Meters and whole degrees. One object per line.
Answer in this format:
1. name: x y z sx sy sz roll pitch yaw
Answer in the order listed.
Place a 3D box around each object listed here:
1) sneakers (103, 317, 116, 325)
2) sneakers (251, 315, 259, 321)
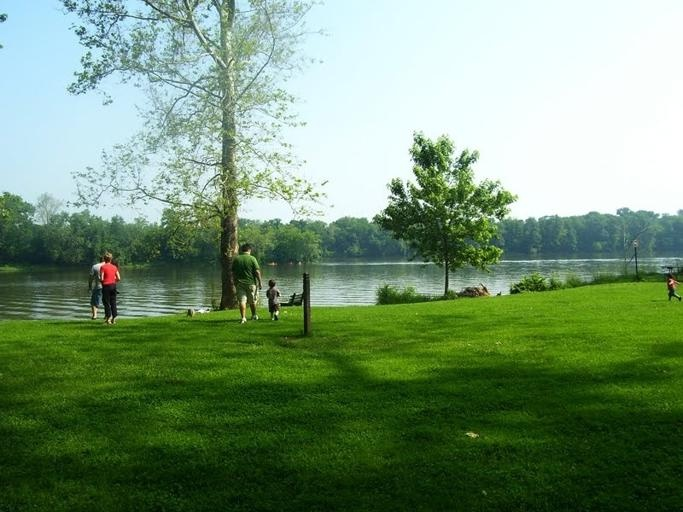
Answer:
1. sneakers: -6.297 1.803 20.365 0.152 0.198 0.485 3 -5 -45
2. sneakers: -2.417 1.739 20.991 0.081 0.111 0.245 1 3 7
